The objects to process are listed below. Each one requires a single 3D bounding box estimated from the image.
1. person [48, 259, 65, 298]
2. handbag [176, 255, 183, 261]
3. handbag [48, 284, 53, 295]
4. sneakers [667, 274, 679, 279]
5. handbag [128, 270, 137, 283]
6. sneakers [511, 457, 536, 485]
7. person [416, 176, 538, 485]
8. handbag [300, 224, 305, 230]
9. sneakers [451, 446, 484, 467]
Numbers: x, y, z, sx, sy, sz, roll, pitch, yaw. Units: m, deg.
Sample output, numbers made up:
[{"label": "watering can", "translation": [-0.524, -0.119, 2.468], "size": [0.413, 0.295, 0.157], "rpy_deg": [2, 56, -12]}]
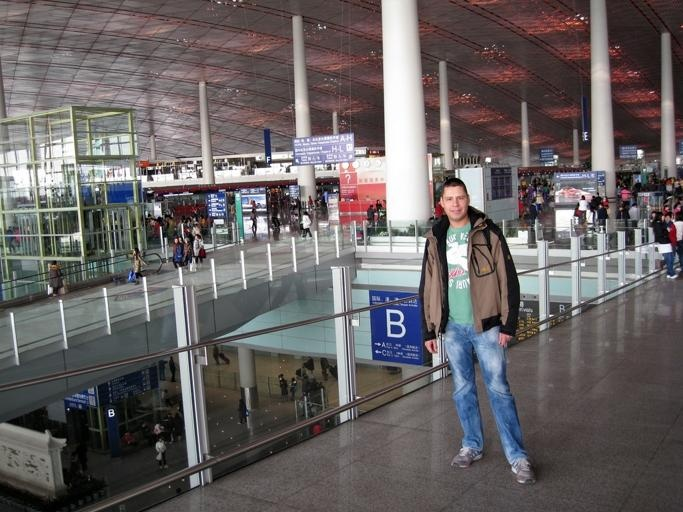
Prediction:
[{"label": "person", "translation": [-10.335, 0.827, 19.914], "size": [0.440, 1.149, 1.295], "rpy_deg": [-5, 6, -25]}, {"label": "handbag", "translation": [-5.947, 0.077, 20.160], "size": [0.242, 0.216, 0.161], "rpy_deg": [-4, 5, -15]}, {"label": "handbag", "translation": [-10.318, 1.163, 19.479], "size": [0.099, 0.356, 0.269], "rpy_deg": [-8, 7, -44]}, {"label": "sneakers", "translation": [8.317, 0.501, 13.830], "size": [0.139, 0.079, 0.230], "rpy_deg": [2, -3, -39]}, {"label": "handbag", "translation": [-6.949, 0.680, 18.113], "size": [0.320, 0.327, 0.605], "rpy_deg": [0, -2, -12]}, {"label": "sneakers", "translation": [1.291, 1.502, 3.903], "size": [0.120, 0.132, 0.144], "rpy_deg": [-3, 5, -2]}, {"label": "person", "translation": [0.986, 0.503, 4.039], "size": [0.836, 2.120, 0.252], "rpy_deg": [1, 6, 34]}, {"label": "handbag", "translation": [-1.896, -1.472, 26.776], "size": [0.081, 0.223, 0.405], "rpy_deg": [-5, 6, -24]}, {"label": "sneakers", "translation": [0.947, 1.508, 4.154], "size": [0.100, 0.109, 0.272], "rpy_deg": [-10, -15, 39]}]
